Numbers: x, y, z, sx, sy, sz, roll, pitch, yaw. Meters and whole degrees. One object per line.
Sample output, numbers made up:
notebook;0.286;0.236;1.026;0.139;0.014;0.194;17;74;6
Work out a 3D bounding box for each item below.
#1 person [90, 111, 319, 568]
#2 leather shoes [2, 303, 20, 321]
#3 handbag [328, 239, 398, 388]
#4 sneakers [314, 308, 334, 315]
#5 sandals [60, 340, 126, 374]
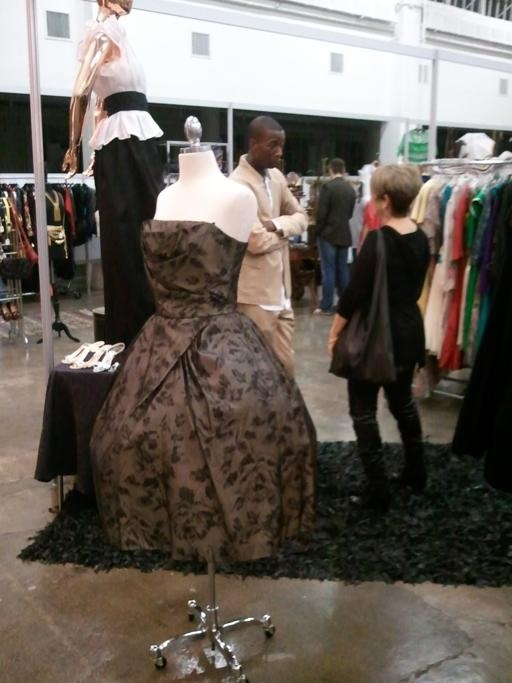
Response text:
person;-0.137;0.005;1.279;0.540;1.042;0.372;1;8;6
leather shoes;-2.255;-0.264;5.165;0.098;0.132;0.277;-3;9;-24
handbag;0.370;-0.111;1.947;0.227;0.532;0.131;2;8;14
sneakers;0.762;-0.323;6.324;0.215;0.109;0.086;4;8;-8
sandals;-0.585;0.059;2.048;0.130;0.054;0.167;6;16;13
